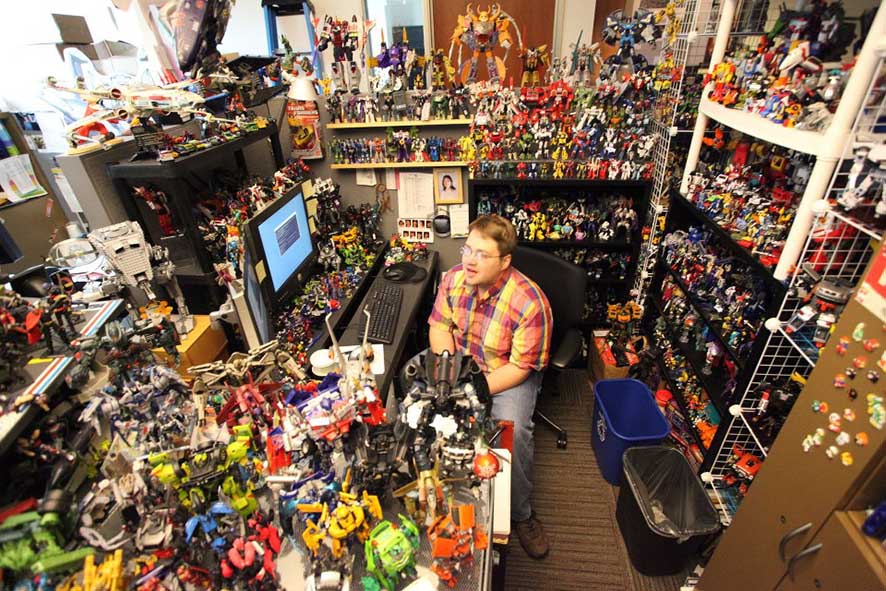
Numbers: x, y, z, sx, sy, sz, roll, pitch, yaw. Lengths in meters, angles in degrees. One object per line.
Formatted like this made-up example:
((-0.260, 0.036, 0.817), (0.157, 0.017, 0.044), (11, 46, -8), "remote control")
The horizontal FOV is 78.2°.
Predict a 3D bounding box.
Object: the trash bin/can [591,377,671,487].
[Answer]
((1.199, 0.897, 3.492), (0.333, 0.401, 0.540), (4, 31, 0), "trash bin/can")

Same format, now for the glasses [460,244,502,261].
((0.206, -0.236, 3.125), (0.228, 0.097, 0.088), (11, 30, 19), "glasses")

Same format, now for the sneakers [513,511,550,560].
((0.514, 1.471, 3.353), (0.120, 0.123, 0.300), (-35, 59, -24), "sneakers")

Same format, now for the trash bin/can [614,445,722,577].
((1.296, 1.257, 3.127), (0.347, 0.467, 0.596), (-1, 35, -5), "trash bin/can")

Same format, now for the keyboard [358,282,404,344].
((-0.412, 0.110, 3.564), (0.250, 0.052, 0.620), (3, 33, 2), "keyboard")
